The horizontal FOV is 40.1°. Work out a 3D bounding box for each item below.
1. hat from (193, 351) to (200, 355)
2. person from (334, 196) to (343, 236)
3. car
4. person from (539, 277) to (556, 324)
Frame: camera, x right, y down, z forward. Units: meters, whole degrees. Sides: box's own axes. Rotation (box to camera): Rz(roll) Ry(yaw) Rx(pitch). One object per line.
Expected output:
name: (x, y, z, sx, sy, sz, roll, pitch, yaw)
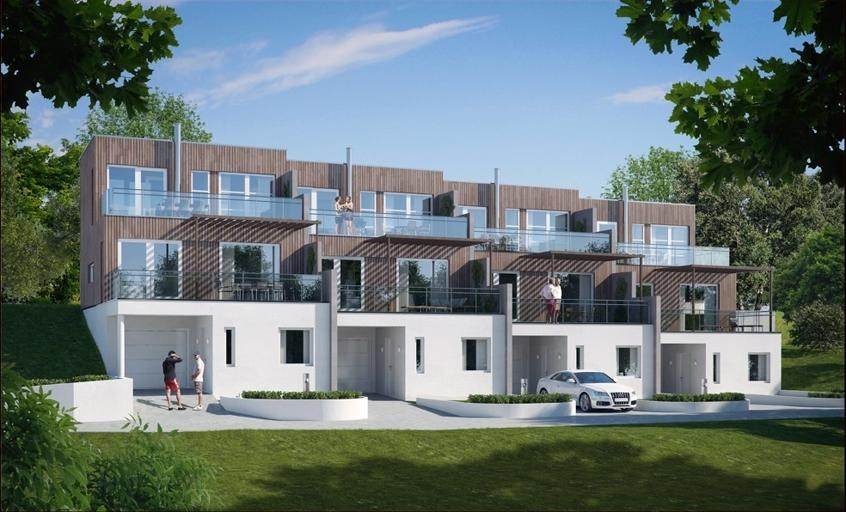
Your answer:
hat: (-10.901, 4.640, 55.727, 0.246, 0.197, 0.318, 4, -5, -5)
person: (-4.628, -2.296, 65.656, 0.654, 2.223, 1.207, 0, -4, -4)
car: (8.081, 6.861, 59.646, 2.157, 1.397, 4.610, 3, -8, -31)
person: (6.943, 2.397, 64.412, 0.661, 2.454, 1.043, 0, -4, -11)
